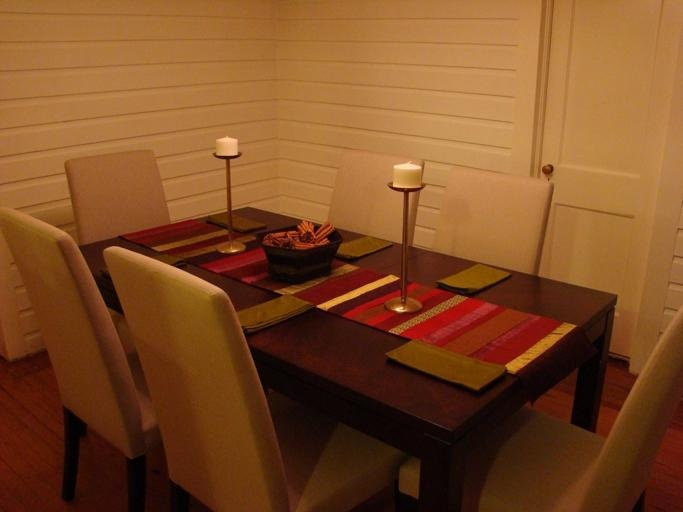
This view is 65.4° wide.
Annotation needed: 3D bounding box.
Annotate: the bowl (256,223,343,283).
[{"bbox_3d":[-0.134,-0.026,1.984,0.215,0.138,0.242,14,20,41],"label":"bowl"}]
